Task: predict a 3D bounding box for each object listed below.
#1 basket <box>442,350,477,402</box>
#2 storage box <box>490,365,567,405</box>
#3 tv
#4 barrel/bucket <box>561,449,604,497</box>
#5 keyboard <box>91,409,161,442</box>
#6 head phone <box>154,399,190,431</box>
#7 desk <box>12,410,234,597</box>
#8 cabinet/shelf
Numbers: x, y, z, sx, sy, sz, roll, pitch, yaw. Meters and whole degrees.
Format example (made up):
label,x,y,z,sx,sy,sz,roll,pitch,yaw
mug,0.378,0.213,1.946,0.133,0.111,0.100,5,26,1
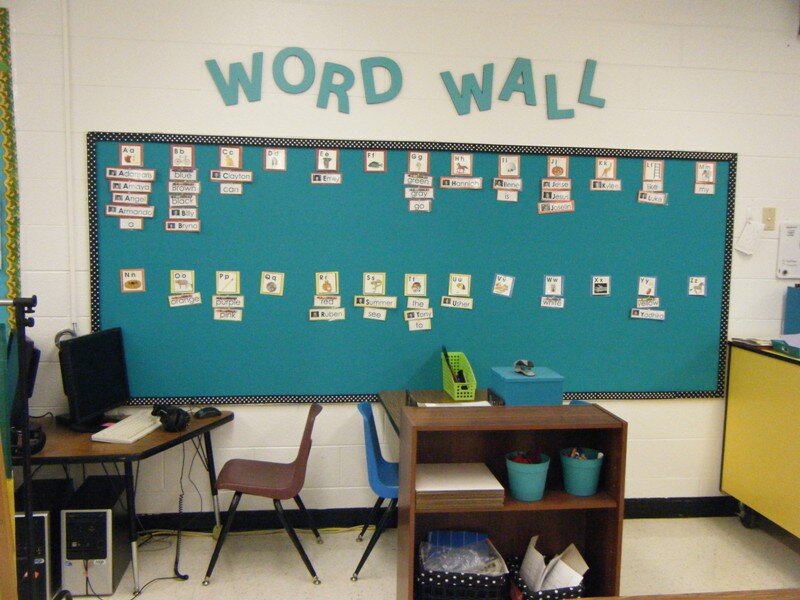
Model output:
label,x,y,z,sx,sy,sz,roll,pitch,yaw
basket,0.343,0.448,4.369,0.132,0.269,0.238,-1,4,-21
storage box,0.679,0.464,3.902,0.367,0.163,0.310,0,7,8
tv,-1.760,0.455,4.150,0.156,0.509,0.481,-6,4,13
barrel/bucket,0.887,0.825,3.526,0.177,0.181,0.209,1,2,5
keyboard,-1.499,0.713,4.068,0.271,0.069,0.433,2,8,21
head phone,-1.291,0.652,4.109,0.133,0.070,0.172,15,3,-42
desk,-1.490,0.827,4.100,0.750,0.746,1.415,0,4,-1
cabinet/shelf,0.526,0.983,3.545,0.814,0.902,0.453,0,-3,-3
